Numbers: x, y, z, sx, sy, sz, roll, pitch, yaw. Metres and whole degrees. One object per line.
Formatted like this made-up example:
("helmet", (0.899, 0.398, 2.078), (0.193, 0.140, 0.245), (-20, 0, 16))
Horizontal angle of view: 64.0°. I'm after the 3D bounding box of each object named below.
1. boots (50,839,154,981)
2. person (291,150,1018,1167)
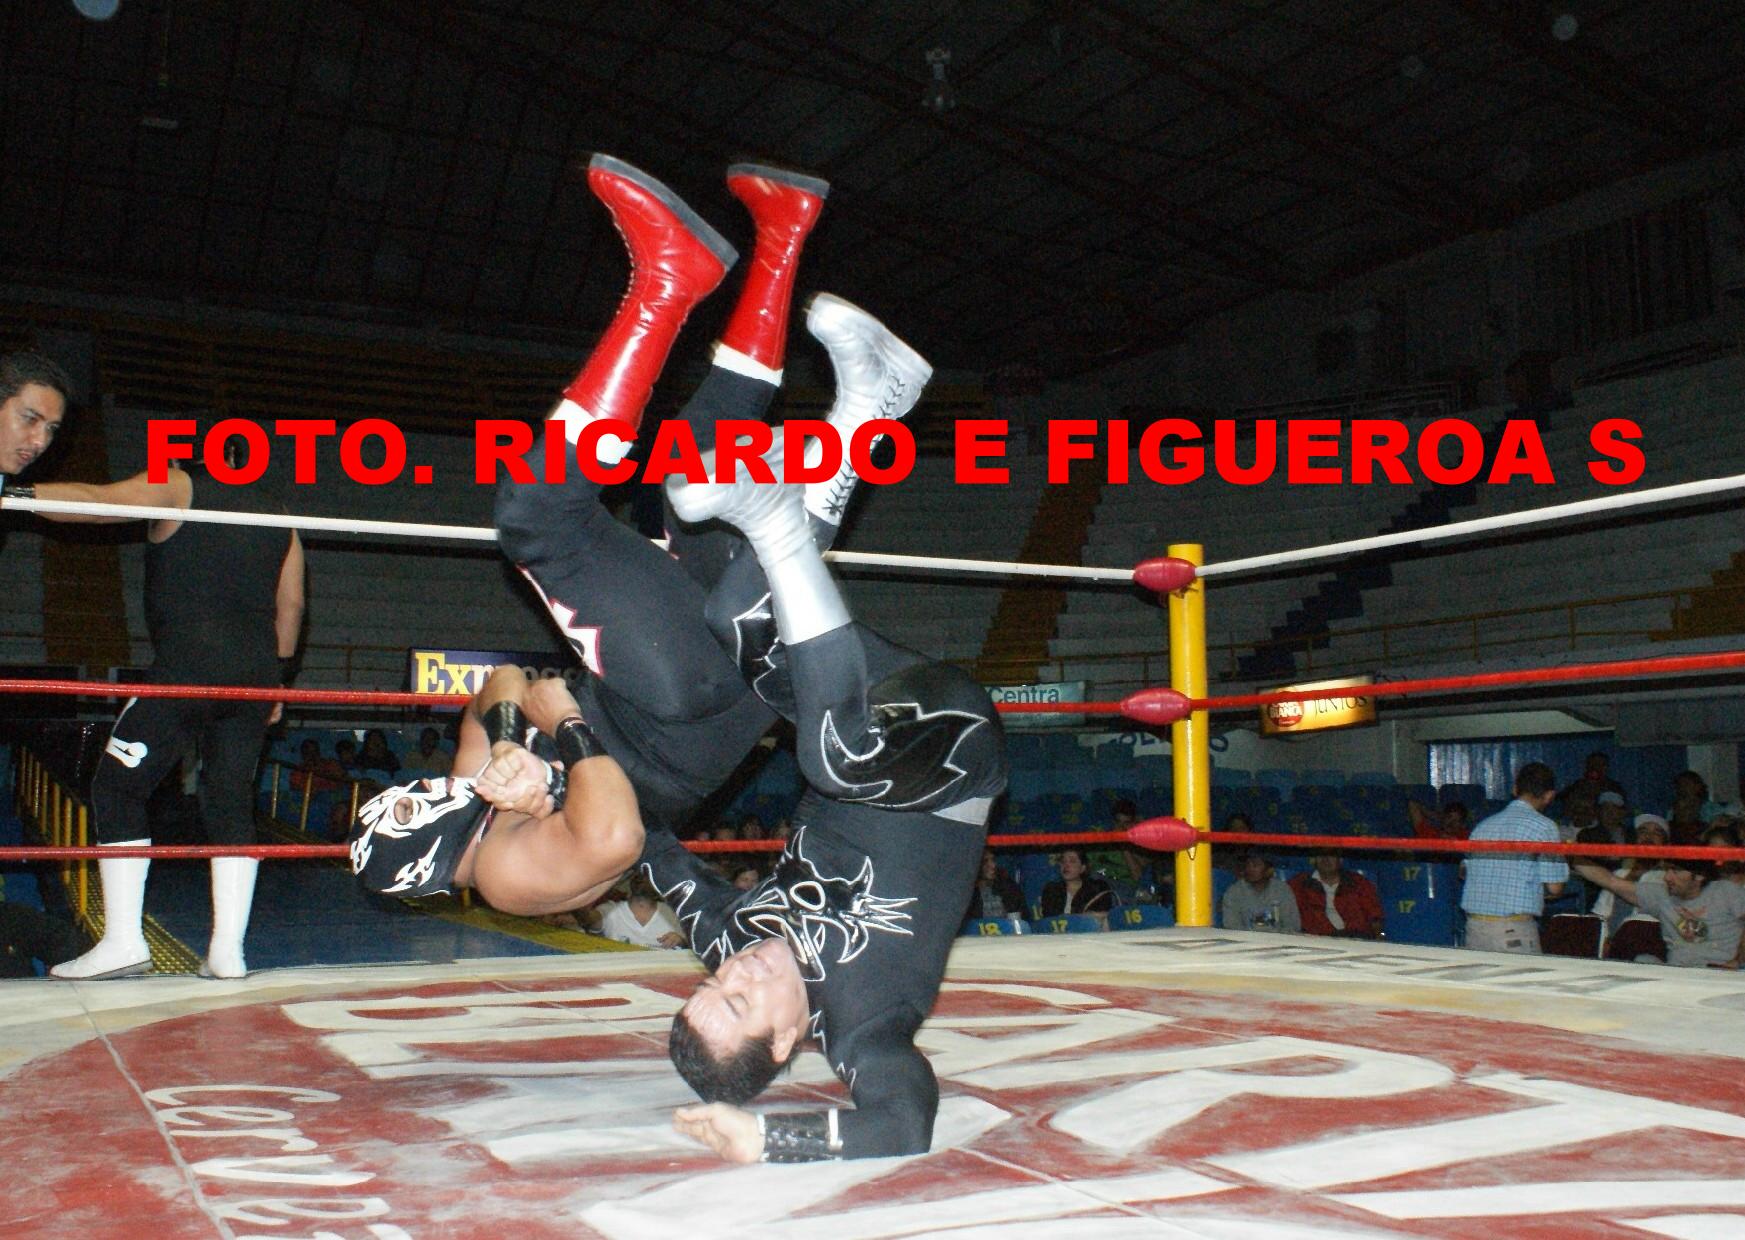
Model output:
("boots", (-1.973, 0.743, 3.586), (0.222, 0.354, 0.461), (2, -4, -26))
("person", (-0.317, -0.017, 2.995), (1.310, 1.958, 0.794), (-3, -5, 37))
